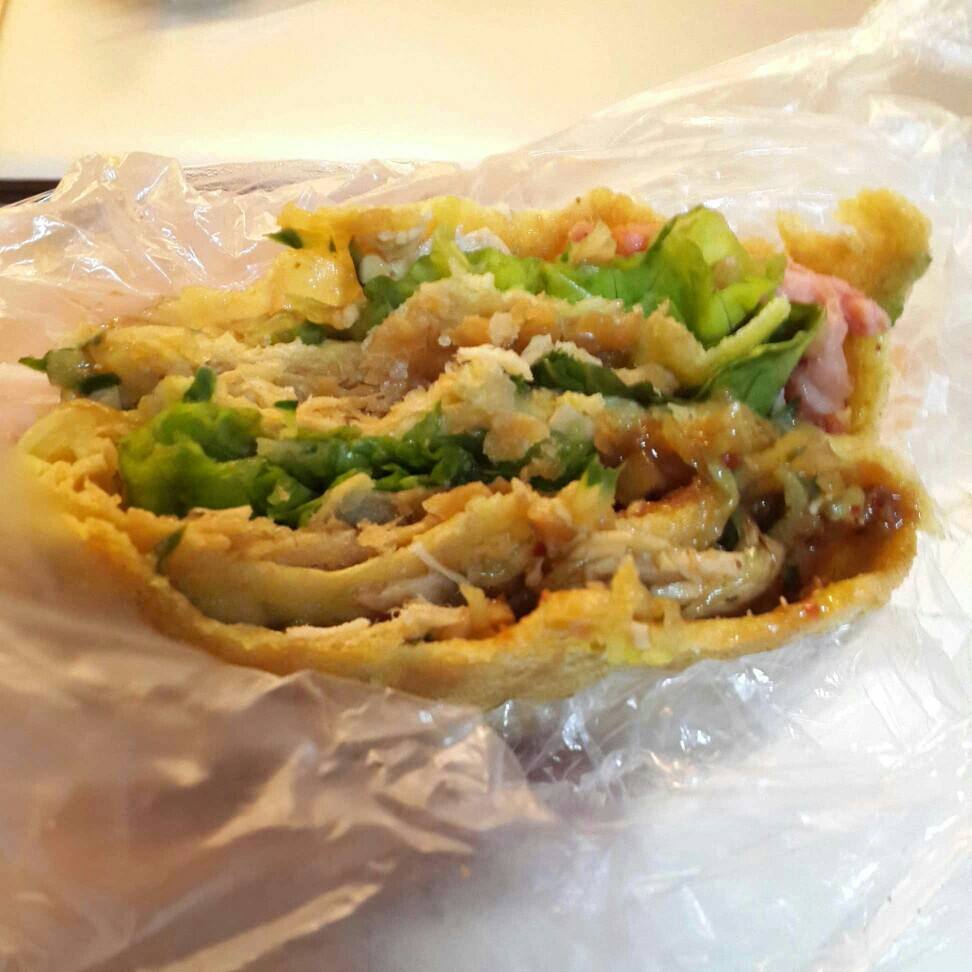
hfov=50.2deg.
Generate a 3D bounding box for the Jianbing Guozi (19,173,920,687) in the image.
[{"bbox_3d":[-0.022,-0.040,0.960,0.859,0.310,0.435,2,44,1],"label":"Jianbing Guozi"}]
